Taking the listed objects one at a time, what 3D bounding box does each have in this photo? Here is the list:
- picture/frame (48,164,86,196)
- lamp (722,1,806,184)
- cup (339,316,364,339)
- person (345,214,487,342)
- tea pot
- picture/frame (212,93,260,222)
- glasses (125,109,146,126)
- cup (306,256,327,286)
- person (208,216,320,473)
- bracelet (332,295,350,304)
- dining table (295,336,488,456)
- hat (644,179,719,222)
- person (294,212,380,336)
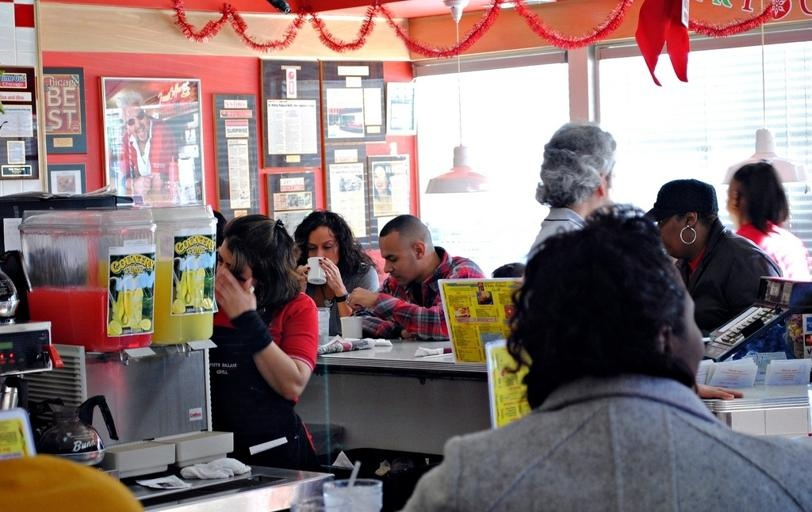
[{"bbox_3d":[-2.966,-0.695,5.430,0.294,0.243,0.135,-4,2,-30],"label":"picture/frame"},{"bbox_3d":[2.775,-1.321,4.863,0.514,1.529,1.988,-2,2,27],"label":"lamp"},{"bbox_3d":[-0.300,0.387,3.373,0.125,0.104,0.101,0,-1,-12],"label":"cup"},{"bbox_3d":[0.074,0.171,3.803,0.915,0.803,0.654,4,-5,-33],"label":"person"},{"bbox_3d":[-1.003,0.533,1.880,0.189,0.212,0.268,-15,-17,35],"label":"tea pot"},{"bbox_3d":[-1.695,-0.958,6.163,0.093,1.279,0.543,10,15,37],"label":"picture/frame"},{"bbox_3d":[-2.506,-1.286,5.716,0.168,0.060,0.160,0,-8,-22],"label":"glasses"},{"bbox_3d":[-0.555,0.082,3.892,0.132,0.138,0.161,-7,-20,14],"label":"cup"},{"bbox_3d":[-0.553,0.354,2.494,0.440,0.778,0.255,-4,2,-42],"label":"person"},{"bbox_3d":[-0.442,0.288,4.150,0.073,0.037,0.072,4,-8,-43],"label":"bracelet"},{"bbox_3d":[-0.058,0.664,2.870,0.960,0.571,0.514,0,5,37],"label":"dining table"},{"bbox_3d":[1.495,-0.313,3.516,0.505,0.229,0.312,-6,1,-2],"label":"hat"},{"bbox_3d":[-0.543,0.197,4.528,0.712,1.066,0.628,0,25,-11],"label":"person"}]
